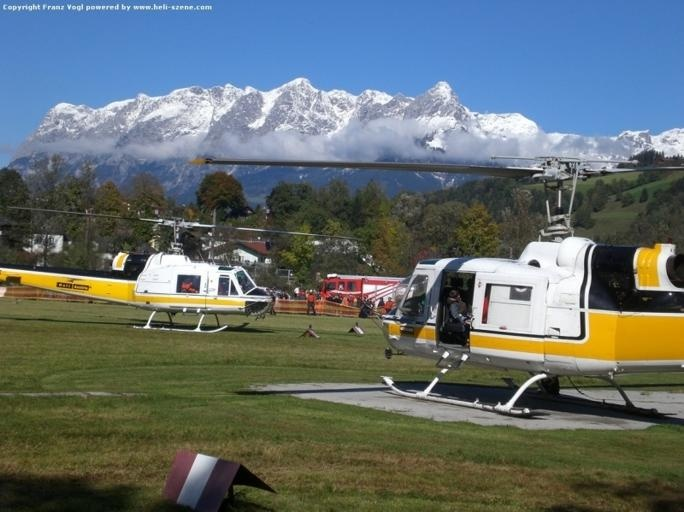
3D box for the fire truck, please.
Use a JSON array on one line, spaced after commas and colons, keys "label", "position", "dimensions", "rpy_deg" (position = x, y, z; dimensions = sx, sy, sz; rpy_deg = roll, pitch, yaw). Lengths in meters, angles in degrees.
[{"label": "fire truck", "position": [1.276, 3.087, 69.202], "dimensions": [8.358, 3.413, 3.251], "rpy_deg": [6, -1, 23]}]
